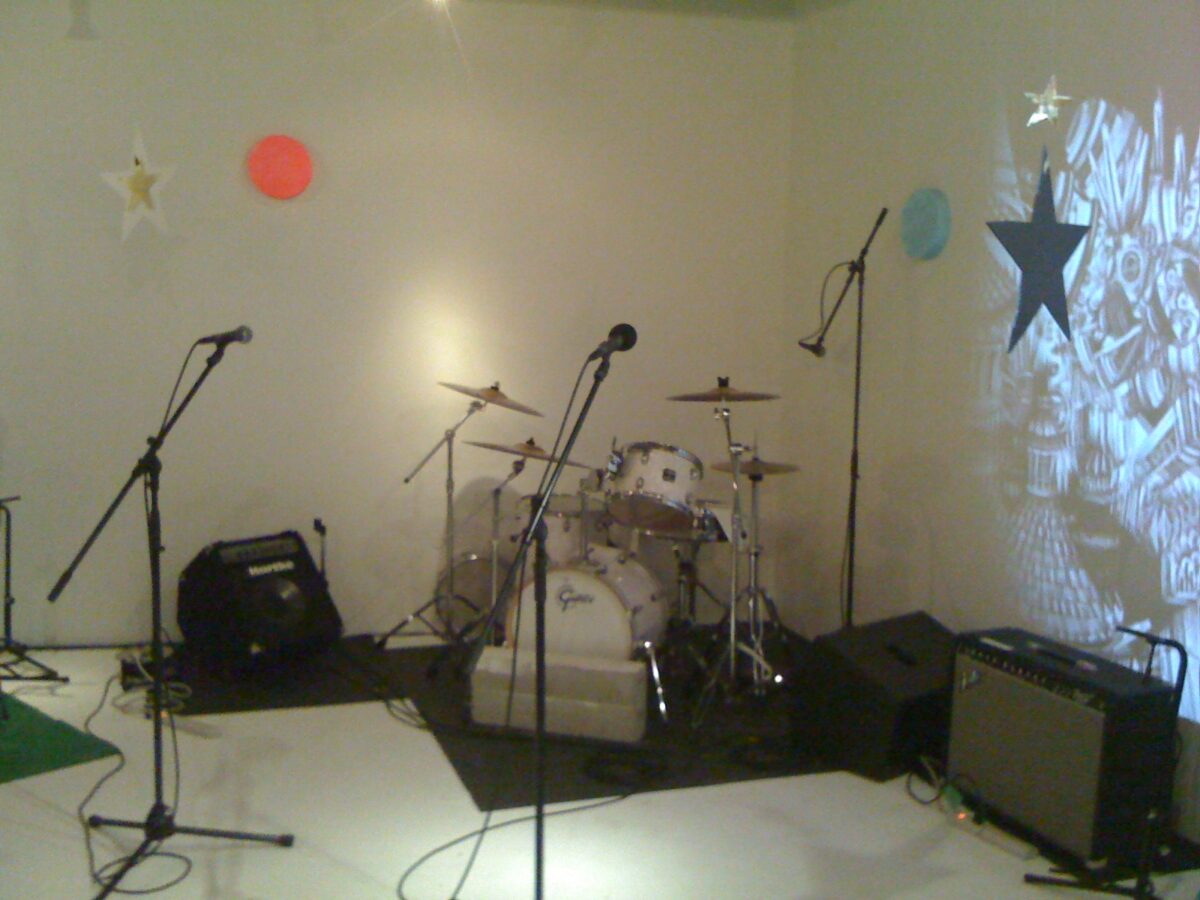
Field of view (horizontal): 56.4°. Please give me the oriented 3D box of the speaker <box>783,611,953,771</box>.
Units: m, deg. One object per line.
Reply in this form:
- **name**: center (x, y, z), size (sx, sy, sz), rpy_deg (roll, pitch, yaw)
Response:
- **speaker**: center (1.150, 1.033, 4.847), size (0.587, 0.643, 0.617), rpy_deg (-3, 11, -25)

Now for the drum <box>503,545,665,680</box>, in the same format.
- **drum**: center (-0.047, 0.740, 5.195), size (0.510, 0.556, 0.502), rpy_deg (2, 6, 16)

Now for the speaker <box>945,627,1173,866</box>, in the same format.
- **speaker**: center (1.740, 1.135, 4.178), size (0.394, 0.735, 0.671), rpy_deg (6, 7, -34)

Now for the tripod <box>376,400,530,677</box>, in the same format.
- **tripod**: center (-0.822, 0.493, 5.921), size (0.951, 1.533, 1.034), rpy_deg (8, -16, -24)

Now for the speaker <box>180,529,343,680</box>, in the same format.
- **speaker**: center (-1.762, 0.880, 5.862), size (0.672, 0.701, 0.733), rpy_deg (-17, -27, -31)

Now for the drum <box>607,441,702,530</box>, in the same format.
- **drum**: center (0.269, 0.102, 5.264), size (0.385, 0.282, 0.414), rpy_deg (10, -26, 5)
